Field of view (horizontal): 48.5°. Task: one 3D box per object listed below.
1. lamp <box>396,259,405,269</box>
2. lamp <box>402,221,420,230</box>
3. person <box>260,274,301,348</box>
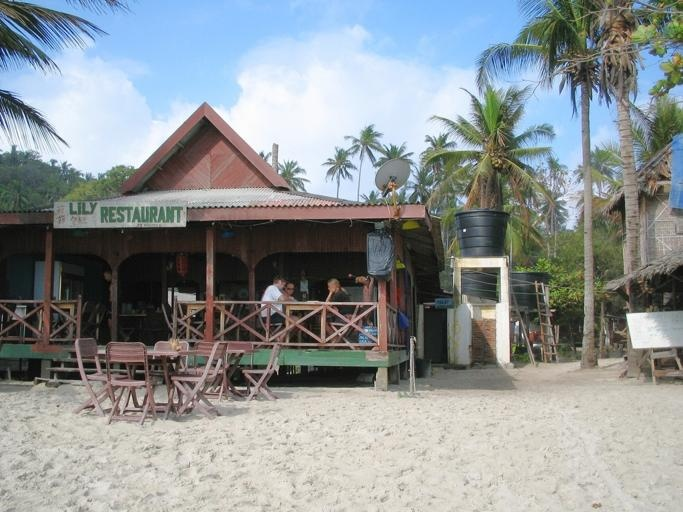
[{"bbox_3d":[1.468,0.223,18.946,0.177,0.334,0.310,-3,-7,3],"label":"lamp"},{"bbox_3d":[1.573,-0.705,17.219,0.370,0.251,0.426,3,12,8],"label":"lamp"},{"bbox_3d":[-1.471,1.155,17.459,0.692,1.413,0.557,-5,13,-18],"label":"person"}]
